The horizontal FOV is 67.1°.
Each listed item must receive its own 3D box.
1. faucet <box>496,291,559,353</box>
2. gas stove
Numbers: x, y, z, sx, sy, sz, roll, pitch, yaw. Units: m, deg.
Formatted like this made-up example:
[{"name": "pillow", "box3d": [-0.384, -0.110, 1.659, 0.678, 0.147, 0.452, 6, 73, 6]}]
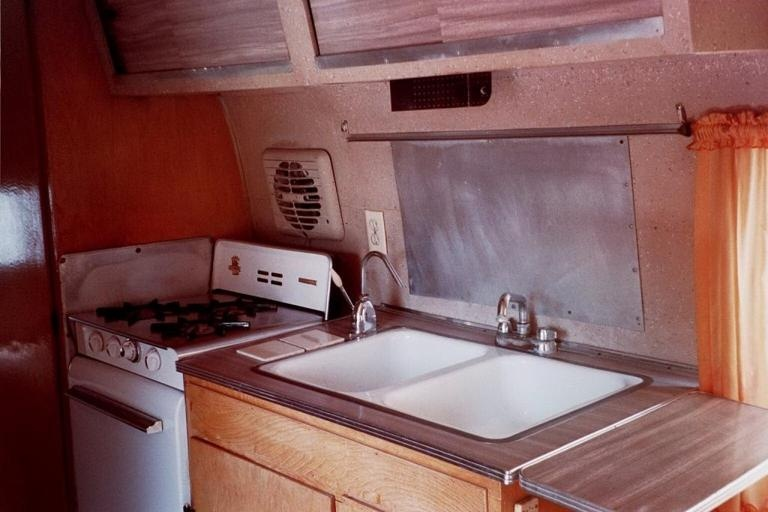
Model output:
[{"name": "faucet", "box3d": [0.555, 0.246, 2.148, 0.264, 0.180, 0.208, 7, 11, 44]}, {"name": "gas stove", "box3d": [-0.842, 0.364, 2.662, 0.997, 0.263, 0.721, 5, 10, 41]}]
